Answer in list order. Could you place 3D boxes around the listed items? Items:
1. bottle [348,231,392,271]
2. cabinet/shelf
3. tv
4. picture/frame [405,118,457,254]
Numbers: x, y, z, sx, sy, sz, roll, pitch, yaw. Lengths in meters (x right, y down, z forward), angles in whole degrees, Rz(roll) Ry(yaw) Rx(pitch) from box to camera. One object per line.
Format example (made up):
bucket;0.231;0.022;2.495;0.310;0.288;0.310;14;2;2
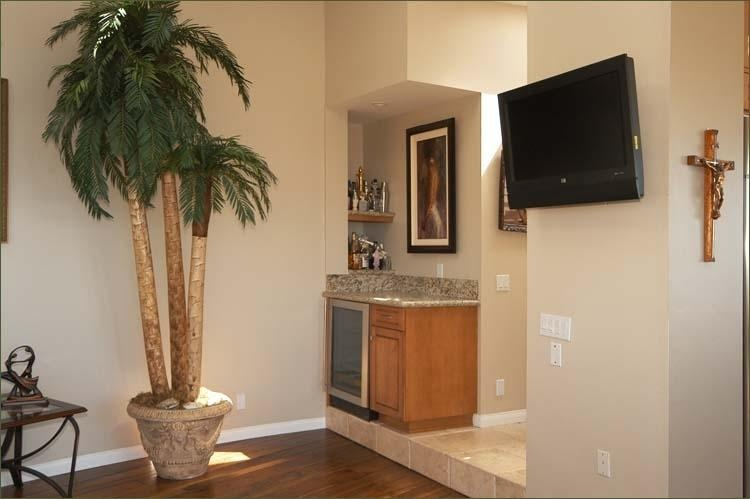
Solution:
bottle;-0.044;0.027;5.590;0.400;0.379;0.199;4;-6;-42
cabinet/shelf;0.204;1.002;5.094;0.776;1.048;1.420;3;-4;-31
tv;1.073;-0.618;2.890;0.266;0.771;0.893;-13;5;-38
picture/frame;0.528;-0.565;5.115;0.170;1.280;0.829;0;-11;-29
